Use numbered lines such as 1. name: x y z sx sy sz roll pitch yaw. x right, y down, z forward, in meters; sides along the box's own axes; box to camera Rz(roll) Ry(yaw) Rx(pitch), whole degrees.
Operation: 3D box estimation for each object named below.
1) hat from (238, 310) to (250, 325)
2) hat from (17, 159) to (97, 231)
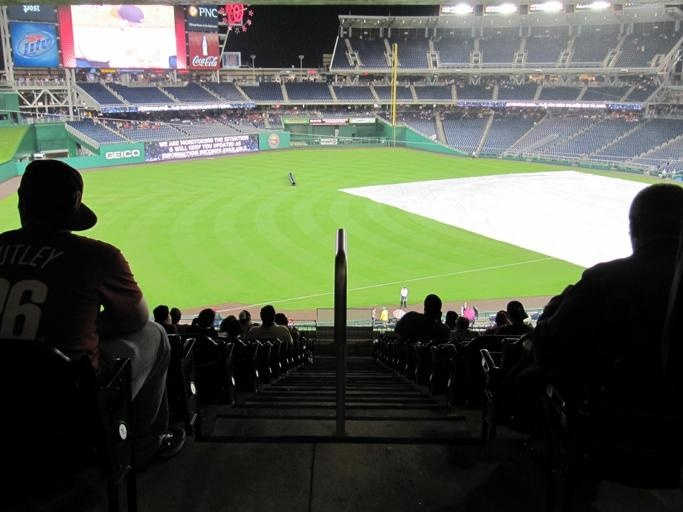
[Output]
1. hat: -1.638 1.050 8.913 0.193 0.254 0.254 -1 -1 -5
2. hat: -1.291 -0.287 2.444 0.275 0.212 0.401 13 21 2
